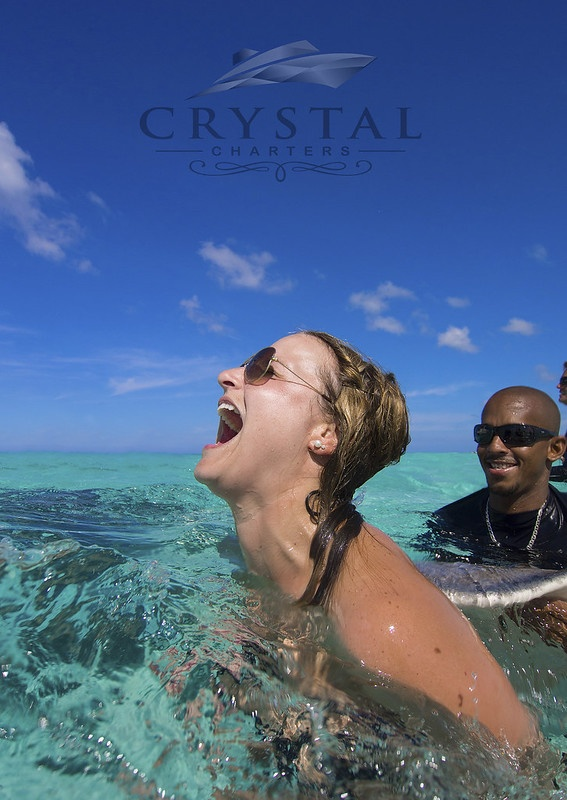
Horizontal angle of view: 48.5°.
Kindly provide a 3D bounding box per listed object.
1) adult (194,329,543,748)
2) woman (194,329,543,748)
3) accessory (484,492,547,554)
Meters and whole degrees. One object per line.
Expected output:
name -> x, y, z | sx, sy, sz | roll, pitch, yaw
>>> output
adult -> 0.256, 0.428, 2.797 | 1.215, 1.196, 2.325 | 10, 0, -12
woman -> 0.243, 0.406, 2.819 | 1.174, 1.249, 2.280 | 10, 2, -10
accessory -> 1.837, 0.933, 4.733 | 0.260, 0.433, 0.087 | -2, -29, 28
